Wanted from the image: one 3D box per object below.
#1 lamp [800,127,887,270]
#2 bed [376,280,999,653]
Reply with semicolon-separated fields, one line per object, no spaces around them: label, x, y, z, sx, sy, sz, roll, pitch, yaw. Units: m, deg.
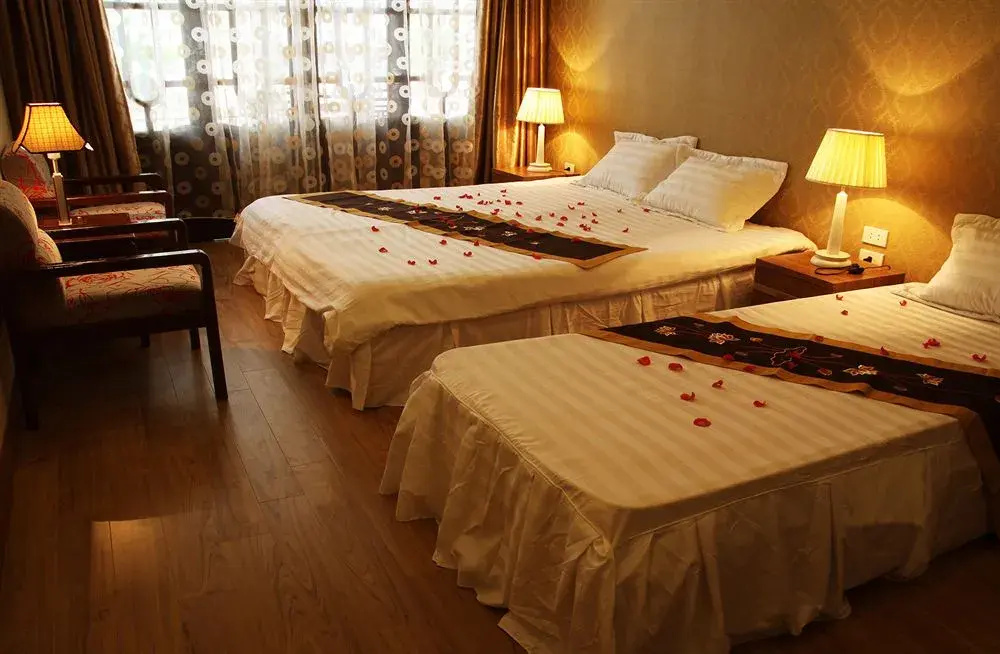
lamp;2.130;-0.780;4.072;0.394;0.809;0.502;16;26;38
bed;0.584;0.586;2.653;1.245;0.540;1.821;-14;23;-30
